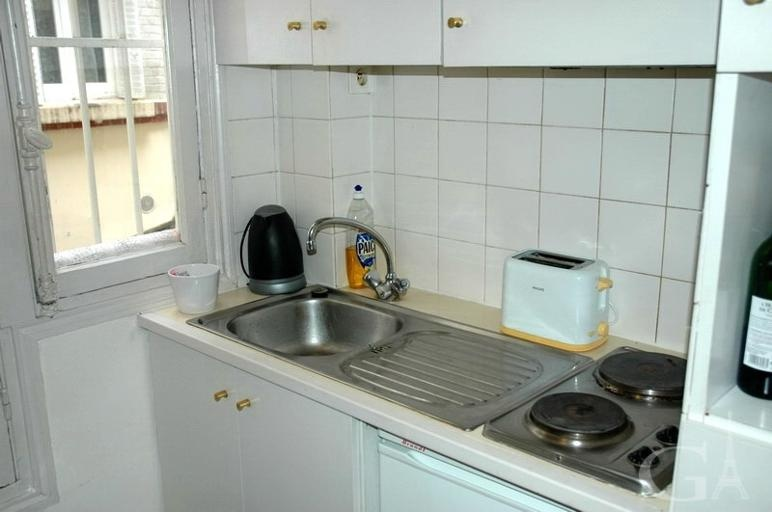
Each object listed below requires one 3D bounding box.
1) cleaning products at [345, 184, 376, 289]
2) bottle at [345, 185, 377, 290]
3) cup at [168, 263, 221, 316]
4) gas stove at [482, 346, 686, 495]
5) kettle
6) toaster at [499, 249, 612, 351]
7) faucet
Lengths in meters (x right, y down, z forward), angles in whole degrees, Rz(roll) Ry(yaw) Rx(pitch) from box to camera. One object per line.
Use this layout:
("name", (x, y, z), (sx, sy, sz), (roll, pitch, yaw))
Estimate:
("cleaning products", (-0.119, -0.074, 2.242), (0.151, 0.383, 0.141), (-1, 8, -13))
("bottle", (-0.108, -0.082, 2.248), (0.161, 0.396, 0.128), (-4, 10, -19))
("cup", (-0.714, 0.115, 2.141), (0.172, 0.156, 0.224), (-7, 19, -19))
("gas stove", (0.556, 0.415, 1.455), (0.408, 0.045, 0.501), (15, 24, 41))
("kettle", (-0.421, -0.030, 2.291), (0.274, 0.347, 0.341), (-10, 14, -34))
("toaster", (0.552, 0.141, 1.862), (0.207, 0.256, 0.364), (-11, 15, -36))
("faucet", (-0.131, 0.002, 2.148), (0.292, 0.345, 0.312), (-10, 17, -38))
